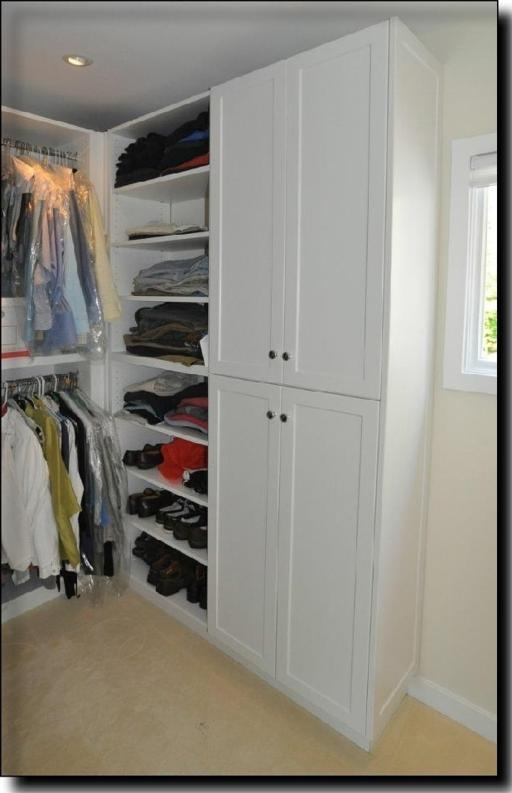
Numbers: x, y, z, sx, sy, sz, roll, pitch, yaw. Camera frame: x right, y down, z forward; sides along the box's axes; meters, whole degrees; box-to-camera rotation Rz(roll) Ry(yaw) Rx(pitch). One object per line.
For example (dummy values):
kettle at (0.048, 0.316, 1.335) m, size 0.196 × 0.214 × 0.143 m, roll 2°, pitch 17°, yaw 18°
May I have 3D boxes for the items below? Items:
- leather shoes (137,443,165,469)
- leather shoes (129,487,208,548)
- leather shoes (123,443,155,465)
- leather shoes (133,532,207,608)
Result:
leather shoes at (-0.505, 0.290, 2.689) m, size 0.065 × 0.094 × 0.196 m, roll 5°, pitch 13°, yaw 14°
leather shoes at (-0.371, 0.532, 2.547) m, size 0.191 × 0.103 × 0.277 m, roll 20°, pitch 3°, yaw 12°
leather shoes at (-0.545, 0.281, 2.669) m, size 0.070 × 0.063 × 0.138 m, roll 7°, pitch 14°, yaw 20°
leather shoes at (-0.385, 0.769, 2.497) m, size 0.186 × 0.115 × 0.271 m, roll 19°, pitch 7°, yaw 21°
